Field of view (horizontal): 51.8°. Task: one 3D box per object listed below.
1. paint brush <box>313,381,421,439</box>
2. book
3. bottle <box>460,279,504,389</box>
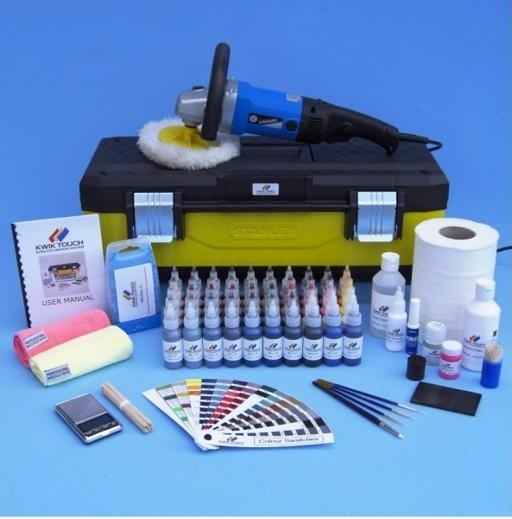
[{"bbox_3d":[0.229,0.278,1.034,0.185,0.013,0.069,23,30,37],"label":"paint brush"},{"bbox_3d":[-0.455,0.027,1.249,0.179,0.261,0.012,-8,31,-21],"label":"book"},{"bbox_3d":[0.470,0.154,1.088,0.084,0.221,0.083,0,17,0],"label":"bottle"}]
